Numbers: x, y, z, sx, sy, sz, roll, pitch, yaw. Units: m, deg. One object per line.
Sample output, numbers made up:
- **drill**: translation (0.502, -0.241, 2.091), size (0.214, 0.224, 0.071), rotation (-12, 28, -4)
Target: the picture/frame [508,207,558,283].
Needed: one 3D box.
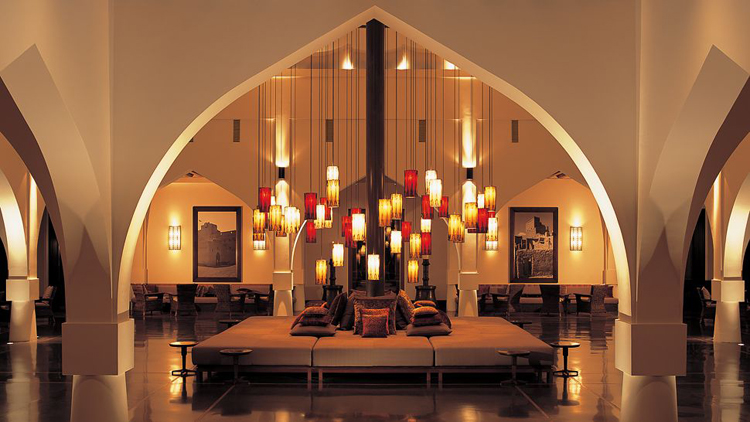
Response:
- **picture/frame**: translation (5.595, 1.202, 24.258), size (1.440, 2.922, 0.495), rotation (-1, -2, -8)

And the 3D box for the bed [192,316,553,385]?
- **bed**: translation (0.009, 3.034, 14.359), size (6.874, 1.091, 2.012), rotation (-1, -9, 2)

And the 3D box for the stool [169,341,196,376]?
- **stool**: translation (-4.010, 3.139, 14.304), size (0.793, 0.804, 0.765), rotation (0, -7, -4)

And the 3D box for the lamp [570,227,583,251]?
- **lamp**: translation (7.167, 1.028, 24.266), size (0.478, 0.888, 0.154), rotation (0, -9, -5)
